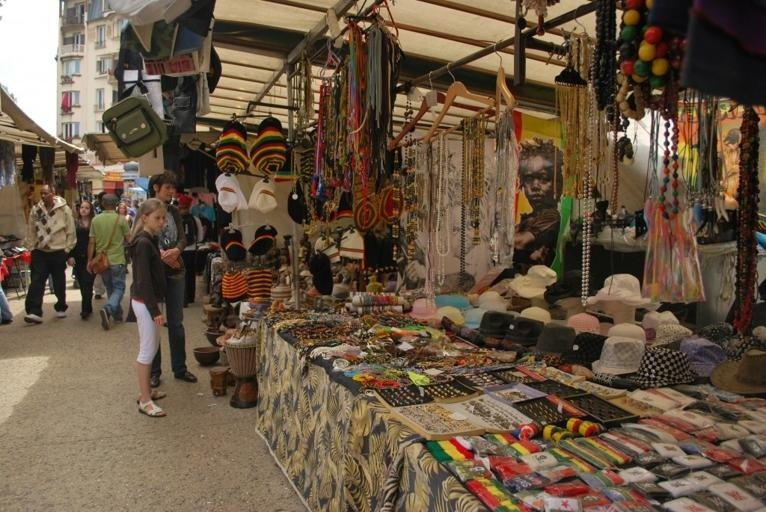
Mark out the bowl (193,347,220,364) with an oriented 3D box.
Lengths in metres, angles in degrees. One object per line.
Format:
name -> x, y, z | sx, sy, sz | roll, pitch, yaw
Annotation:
bowl -> -1.989, 1.133, 6.712 | 0.222, 0.120, 0.219 | 0, 5, 0

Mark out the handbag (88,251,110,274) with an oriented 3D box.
handbag -> -3.962, 0.076, 8.290 | 0.278, 0.264, 0.120 | -16, -11, 28

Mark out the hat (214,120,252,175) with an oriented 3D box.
hat -> -1.536, -1.113, 6.076 | 0.300, 0.555, 0.404 | -1, 11, -14

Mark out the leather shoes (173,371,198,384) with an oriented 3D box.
leather shoes -> -2.072, 1.279, 6.326 | 0.292, 0.105, 0.106 | 4, 2, 18

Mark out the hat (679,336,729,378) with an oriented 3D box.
hat -> 2.130, 0.677, 3.984 | 0.261, 0.081, 0.264 | 13, 51, 23

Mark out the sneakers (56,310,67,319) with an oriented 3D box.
sneakers -> -4.857, 0.880, 8.973 | 0.118, 0.077, 0.193 | -6, 5, -25

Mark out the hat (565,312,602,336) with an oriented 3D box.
hat -> 1.705, 0.556, 5.042 | 0.251, 0.158, 0.253 | 7, 11, 42

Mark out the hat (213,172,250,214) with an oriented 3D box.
hat -> -1.654, -0.669, 6.351 | 0.346, 0.438, 0.194 | -8, 8, -37

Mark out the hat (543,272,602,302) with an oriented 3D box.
hat -> 2.137, 0.364, 6.921 | 0.512, 0.181, 0.430 | -14, 9, -36

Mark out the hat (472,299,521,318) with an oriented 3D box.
hat -> 1.026, 0.487, 5.586 | 0.269, 0.071, 0.268 | -7, 8, -38

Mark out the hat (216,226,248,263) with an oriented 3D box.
hat -> -1.651, -0.107, 6.528 | 0.234, 0.376, 0.342 | -2, 11, -19

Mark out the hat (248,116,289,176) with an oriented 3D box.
hat -> -1.139, -1.110, 5.961 | 0.376, 0.605, 0.397 | -1, 11, -11

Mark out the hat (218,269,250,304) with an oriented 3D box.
hat -> -1.733, 0.358, 6.956 | 0.413, 0.460, 0.272 | 4, 13, 21

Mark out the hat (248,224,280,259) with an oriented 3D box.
hat -> -1.308, -0.159, 6.423 | 0.271, 0.340, 0.246 | -1, 11, -12

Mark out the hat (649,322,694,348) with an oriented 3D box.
hat -> 2.106, 0.582, 4.368 | 0.218, 0.062, 0.215 | -10, 4, -4

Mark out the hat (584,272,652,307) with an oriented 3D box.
hat -> 2.083, 0.240, 5.133 | 0.588, 0.273, 0.641 | 9, 10, 42

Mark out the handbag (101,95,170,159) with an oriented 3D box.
handbag -> -2.313, -1.217, 5.583 | 0.496, 0.480, 0.303 | -23, 22, 13

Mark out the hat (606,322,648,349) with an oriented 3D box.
hat -> 1.757, 0.576, 4.234 | 0.201, 0.139, 0.199 | 3, -9, -3

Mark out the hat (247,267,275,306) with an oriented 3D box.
hat -> -1.299, 0.325, 6.236 | 0.328, 0.340, 0.328 | -2, 6, -19

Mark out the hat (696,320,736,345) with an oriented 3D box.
hat -> 2.476, 0.560, 4.417 | 0.357, 0.149, 0.121 | -9, 9, -39

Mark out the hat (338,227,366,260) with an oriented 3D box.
hat -> -0.299, -0.101, 5.958 | 0.194, 0.344, 0.262 | -23, -29, 36

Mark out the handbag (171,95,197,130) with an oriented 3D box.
handbag -> -2.026, -1.479, 6.065 | 0.324, 0.416, 0.072 | 8, 16, 21

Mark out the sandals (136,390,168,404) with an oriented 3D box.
sandals -> -2.243, 1.354, 5.785 | 0.242, 0.096, 0.095 | -5, 8, -33

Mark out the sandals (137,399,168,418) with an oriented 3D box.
sandals -> -2.113, 1.394, 5.460 | 0.268, 0.103, 0.127 | 1, -1, 33

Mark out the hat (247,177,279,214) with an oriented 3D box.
hat -> -1.300, -0.650, 6.419 | 0.253, 0.369, 0.413 | -1, 11, -13

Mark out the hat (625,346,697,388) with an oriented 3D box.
hat -> 1.891, 0.702, 3.983 | 0.389, 0.166, 0.442 | 3, 7, 22

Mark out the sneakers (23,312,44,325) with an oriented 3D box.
sneakers -> -4.903, 0.894, 8.416 | 0.126, 0.109, 0.300 | 48, 2, 26

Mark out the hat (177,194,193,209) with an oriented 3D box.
hat -> -3.151, -0.876, 9.453 | 0.201, 0.125, 0.262 | 15, 0, 7

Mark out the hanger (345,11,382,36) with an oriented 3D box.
hanger -> -0.146, -1.732, 4.375 | 0.207, 0.188, 0.334 | -1, 11, -15

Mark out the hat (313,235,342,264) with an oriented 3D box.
hat -> -0.577, -0.091, 6.173 | 0.238, 0.307, 0.471 | 1, 11, -4

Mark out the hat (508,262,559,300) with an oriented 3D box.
hat -> 1.861, 0.335, 7.451 | 0.490, 0.181, 0.376 | -42, 28, -28
